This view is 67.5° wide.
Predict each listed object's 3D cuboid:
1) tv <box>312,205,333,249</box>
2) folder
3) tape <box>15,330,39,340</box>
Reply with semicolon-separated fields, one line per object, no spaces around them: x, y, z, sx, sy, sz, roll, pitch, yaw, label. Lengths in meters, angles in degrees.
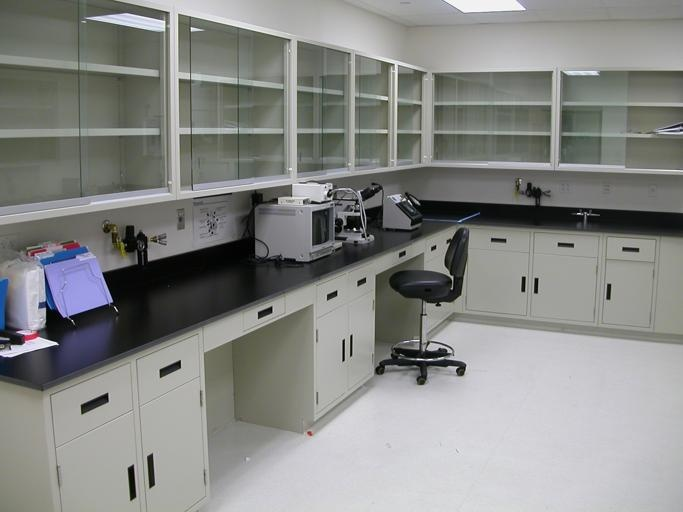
-0.142;-0.213;3.625;0.147;0.274;0.279;0;5;17;tv
-1.288;0.106;2.456;0.132;0.365;0.316;-21;0;33;folder
-1.348;0.330;2.197;0.062;0.019;0.048;9;11;28;tape
